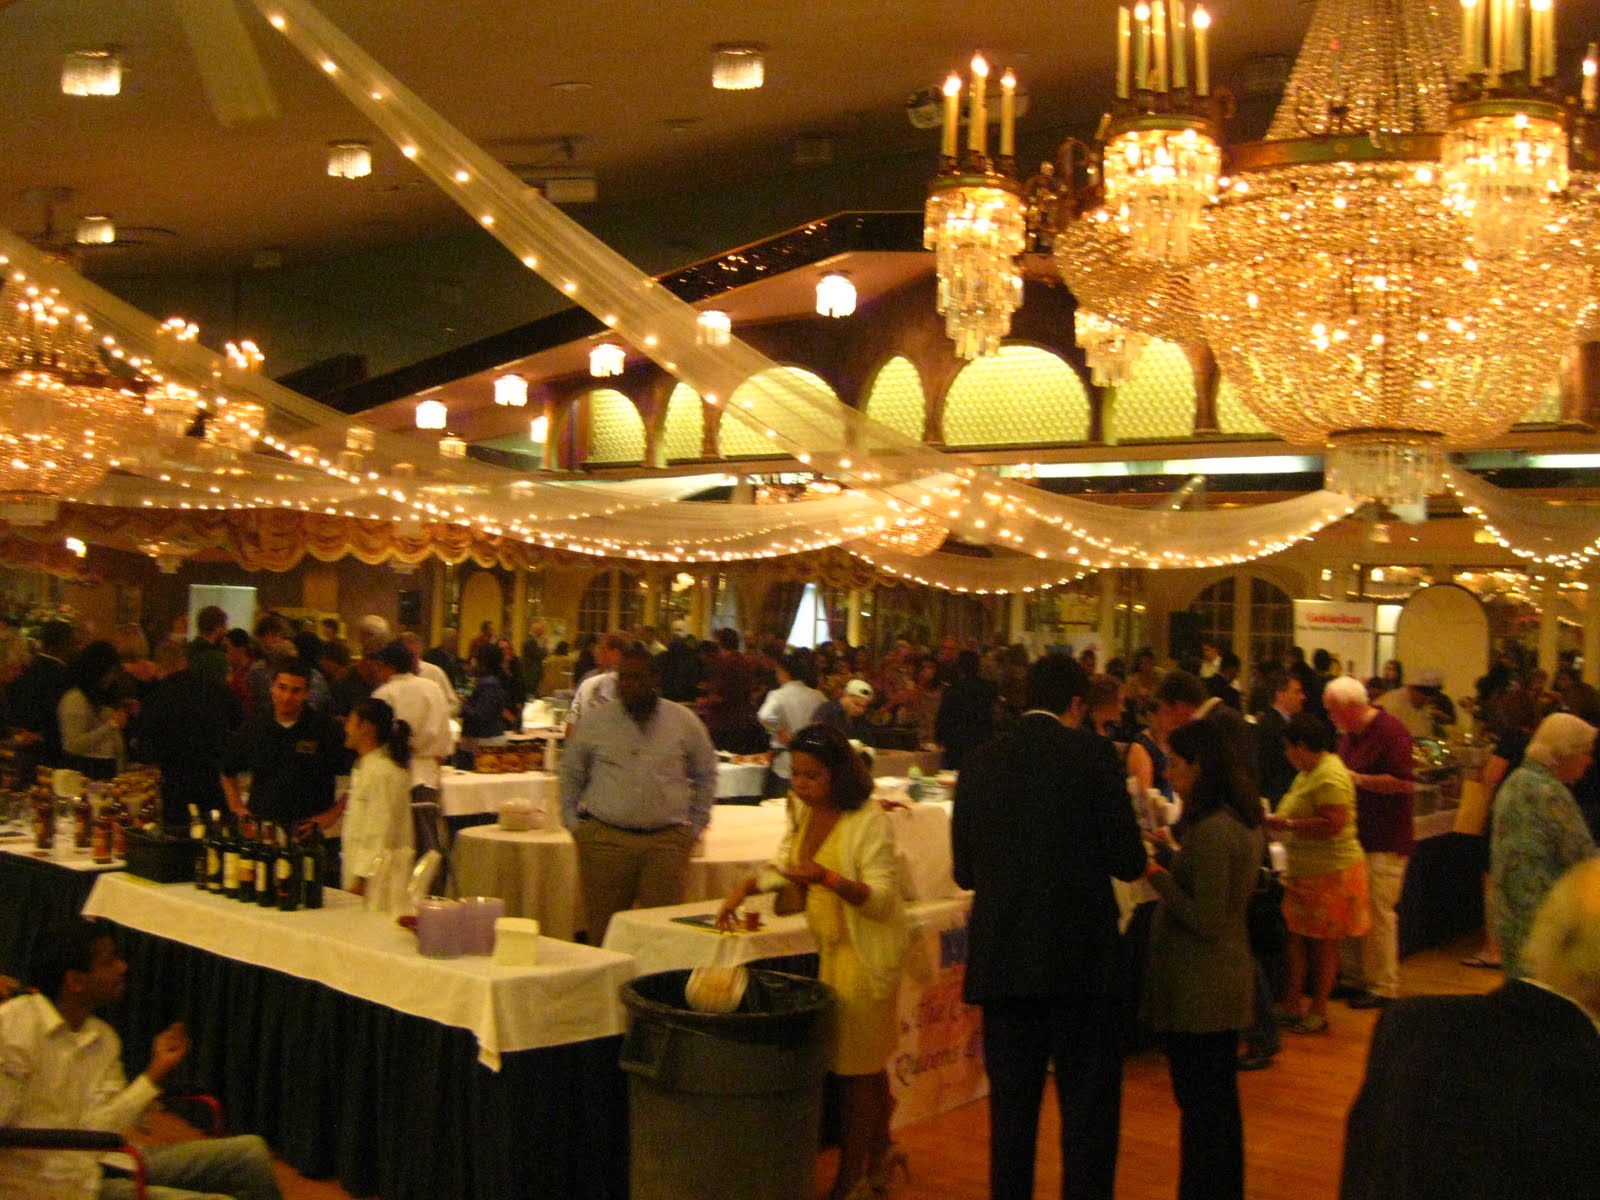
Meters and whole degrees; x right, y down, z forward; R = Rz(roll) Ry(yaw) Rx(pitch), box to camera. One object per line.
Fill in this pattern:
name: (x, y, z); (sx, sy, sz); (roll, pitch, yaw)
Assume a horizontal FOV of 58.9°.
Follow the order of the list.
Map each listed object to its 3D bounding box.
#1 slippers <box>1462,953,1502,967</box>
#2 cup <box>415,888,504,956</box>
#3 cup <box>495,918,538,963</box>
slippers: (3.912, 2.028, 8.069); (0.074, 0.034, 0.128); (1, -1, -15)
cup: (-1.054, 0.991, 4.365); (0.307, 0.169, 0.169); (6, -10, -29)
cup: (-0.837, 1.010, 4.237); (0.139, 0.118, 0.108); (2, 19, 0)
